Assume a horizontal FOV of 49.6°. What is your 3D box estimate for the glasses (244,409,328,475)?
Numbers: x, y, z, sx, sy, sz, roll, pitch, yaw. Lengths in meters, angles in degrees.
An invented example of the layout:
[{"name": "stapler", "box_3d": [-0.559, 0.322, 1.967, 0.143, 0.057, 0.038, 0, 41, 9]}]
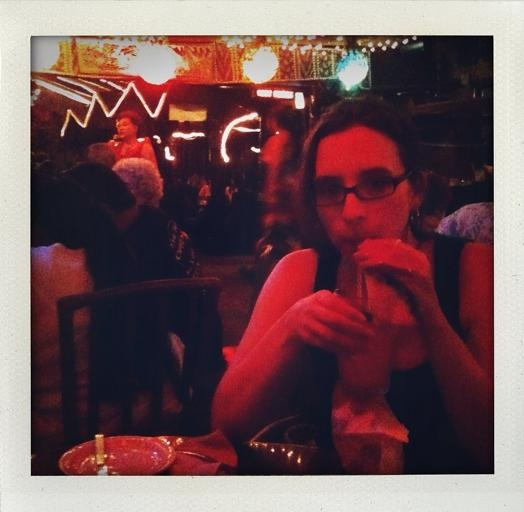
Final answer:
[{"name": "glasses", "box_3d": [0.080, 0.740, 2.288, 0.297, 0.198, 0.194, -21, 12, -1]}]
